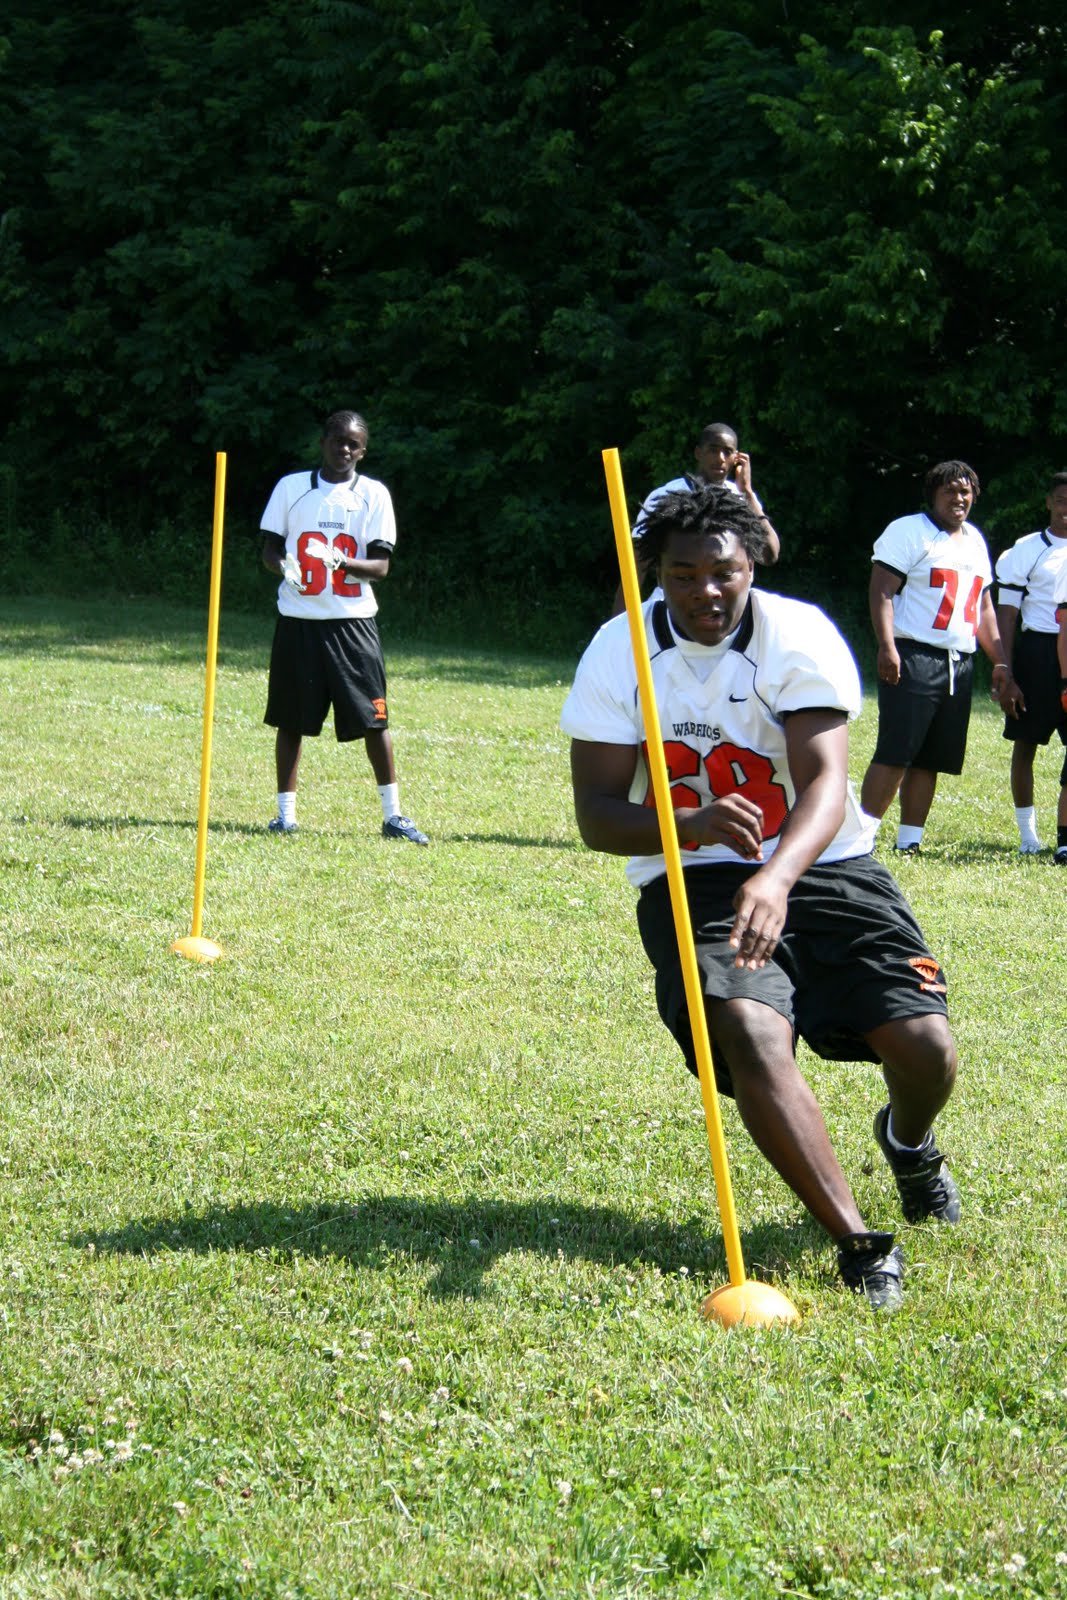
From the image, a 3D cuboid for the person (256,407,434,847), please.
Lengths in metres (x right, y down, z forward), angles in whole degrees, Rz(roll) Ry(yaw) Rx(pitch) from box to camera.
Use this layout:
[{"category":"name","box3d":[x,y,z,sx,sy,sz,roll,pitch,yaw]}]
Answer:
[{"category":"person","box3d":[-0.968,-0.881,9.445,0.765,2.096,0.648,2,5,-10]}]

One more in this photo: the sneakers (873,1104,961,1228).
[{"category":"sneakers","box3d":[0.889,0.894,4.522,0.134,0.337,0.151,-21,1,8]}]

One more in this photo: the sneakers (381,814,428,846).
[{"category":"sneakers","box3d":[-0.648,0.149,9.452,0.108,0.120,0.283,-6,22,-45]}]

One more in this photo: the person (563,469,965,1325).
[{"category":"person","box3d":[0.507,0.149,4.307,0.965,1.710,0.762,4,5,11]}]

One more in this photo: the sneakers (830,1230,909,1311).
[{"category":"sneakers","box3d":[0.701,0.997,4.032,0.101,0.113,0.282,-3,-12,8]}]
